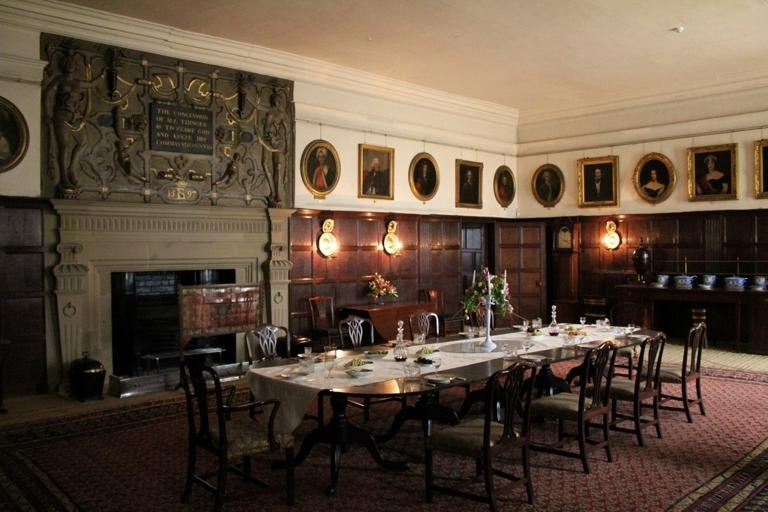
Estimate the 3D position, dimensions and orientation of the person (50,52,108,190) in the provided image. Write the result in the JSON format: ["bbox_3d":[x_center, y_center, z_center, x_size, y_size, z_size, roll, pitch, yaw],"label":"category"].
[{"bbox_3d":[-5.148,-2.213,9.045,0.685,2.446,0.232,-5,6,-28],"label":"person"}]

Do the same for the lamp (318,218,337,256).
[{"bbox_3d":[-1.211,-0.383,11.663,0.133,0.841,0.498,2,7,44],"label":"lamp"}]

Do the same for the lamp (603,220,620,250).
[{"bbox_3d":[5.716,-0.509,13.706,0.106,0.762,0.426,-7,6,-43],"label":"lamp"}]

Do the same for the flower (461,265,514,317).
[{"bbox_3d":[1.578,0.534,8.292,0.770,0.760,0.766,-11,7,-39],"label":"flower"}]

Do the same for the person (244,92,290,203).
[{"bbox_3d":[-2.203,-2.152,10.805,0.267,2.337,0.691,2,7,44],"label":"person"}]

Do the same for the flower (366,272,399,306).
[{"bbox_3d":[0.003,0.719,12.315,0.825,0.687,0.415,-7,6,-44],"label":"flower"}]

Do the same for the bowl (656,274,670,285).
[{"bbox_3d":[6.573,0.560,12.820,0.280,0.225,0.275,0,0,0],"label":"bowl"}]

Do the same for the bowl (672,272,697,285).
[{"bbox_3d":[6.841,0.561,12.481,0.294,0.200,0.305,0,-5,0],"label":"bowl"}]

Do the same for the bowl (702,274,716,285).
[{"bbox_3d":[7.352,0.539,12.349,0.242,0.245,0.248,-1,-2,0],"label":"bowl"}]

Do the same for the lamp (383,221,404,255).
[{"bbox_3d":[0.186,-0.391,12.587,0.503,0.706,0.265,-3,6,-42],"label":"lamp"}]
